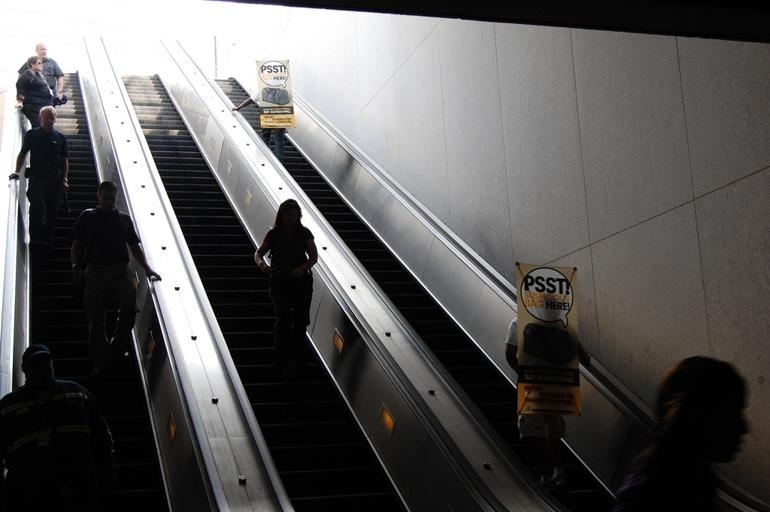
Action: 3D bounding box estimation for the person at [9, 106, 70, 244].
[{"bbox_3d":[-4.478,-1.042,6.888,0.477,1.661,0.876,-2,17,-6],"label":"person"}]

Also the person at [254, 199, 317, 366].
[{"bbox_3d":[-0.967,0.256,5.403,0.548,1.618,0.508,-8,18,-24],"label":"person"}]

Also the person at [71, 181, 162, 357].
[{"bbox_3d":[-2.747,0.114,5.430,0.761,1.691,1.048,-9,19,-26],"label":"person"}]
